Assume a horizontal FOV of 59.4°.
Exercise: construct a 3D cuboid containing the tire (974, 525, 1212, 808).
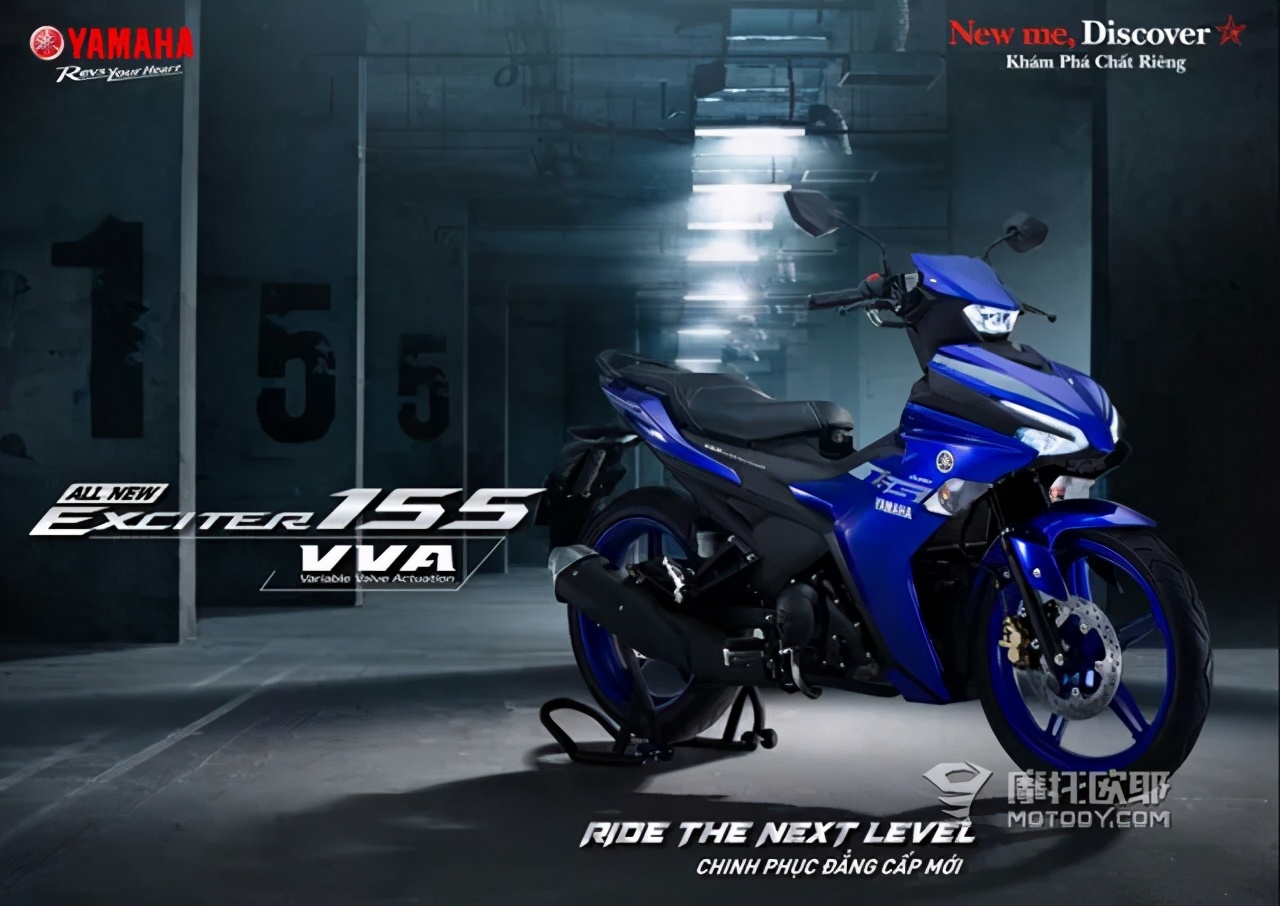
[{"bbox_3d":[1.616,0.798,4.059,0.779,1.082,0.464,0,1,17],"label":"tire"}]
